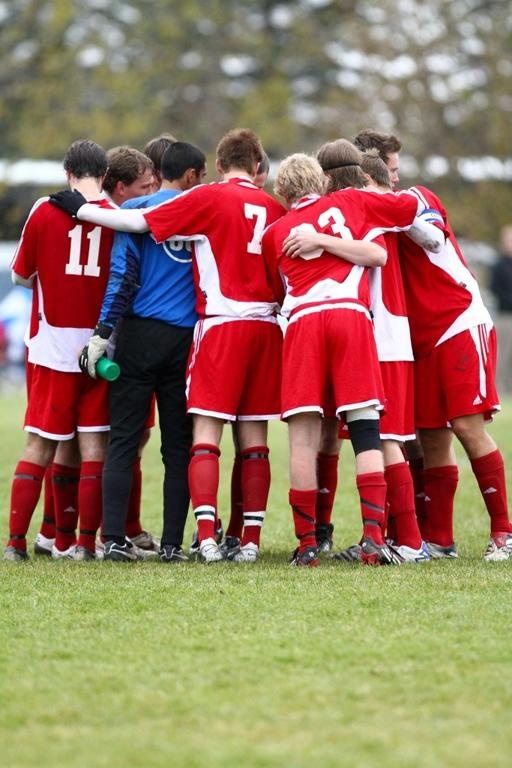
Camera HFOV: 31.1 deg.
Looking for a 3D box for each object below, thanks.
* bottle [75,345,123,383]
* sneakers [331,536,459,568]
[{"bbox_3d":[-0.717,-0.104,4.194,0.080,0.077,0.175,39,-12,-32],"label":"bottle"},{"bbox_3d":[0.660,0.775,4.242,0.397,0.147,0.122,8,-32,-17],"label":"sneakers"}]
